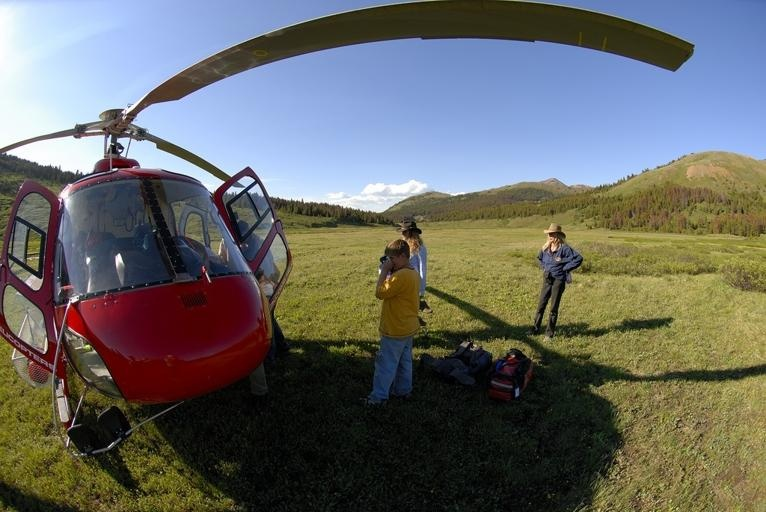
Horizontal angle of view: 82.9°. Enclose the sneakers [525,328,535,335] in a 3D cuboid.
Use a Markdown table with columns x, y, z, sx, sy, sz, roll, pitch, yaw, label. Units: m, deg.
| x | y | z | sx | sy | sz | roll | pitch | yaw | label |
| --- | --- | --- | --- | --- | --- | --- | --- | --- | --- |
| 3.453 | 1.764 | 10.224 | 0.129 | 0.204 | 0.214 | 6 | 5 | 7 | sneakers |
